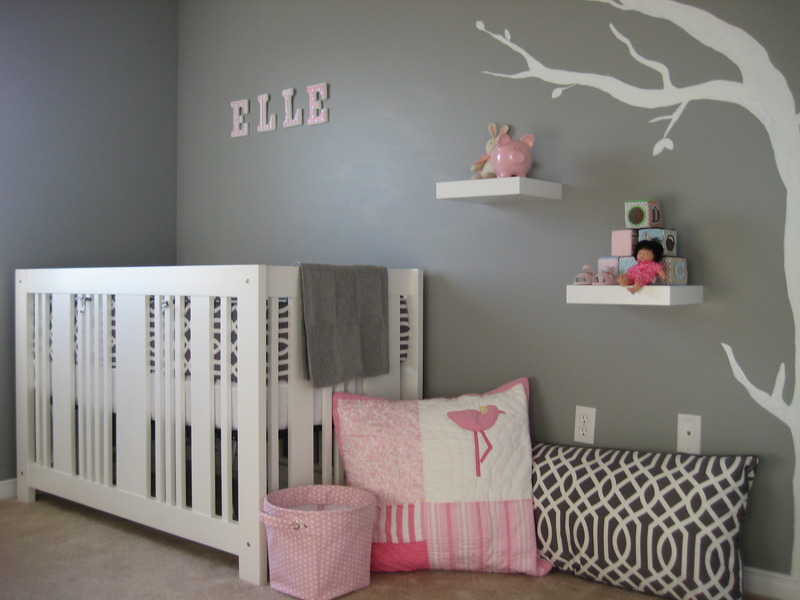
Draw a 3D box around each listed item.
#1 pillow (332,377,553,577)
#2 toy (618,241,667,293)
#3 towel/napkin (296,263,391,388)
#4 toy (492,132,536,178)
[{"bbox_3d":[0.152,0.676,2.535,0.553,0.584,0.225,-1,-22,0],"label":"pillow"},{"bbox_3d":[0.818,-0.118,2.361,0.150,0.186,0.078,4,3,23],"label":"toy"},{"bbox_3d":[-0.221,0.097,2.637,0.100,0.458,0.436,3,3,41],"label":"towel/napkin"},{"bbox_3d":[0.437,-0.557,2.662,0.139,0.186,0.195,4,3,32],"label":"toy"}]
